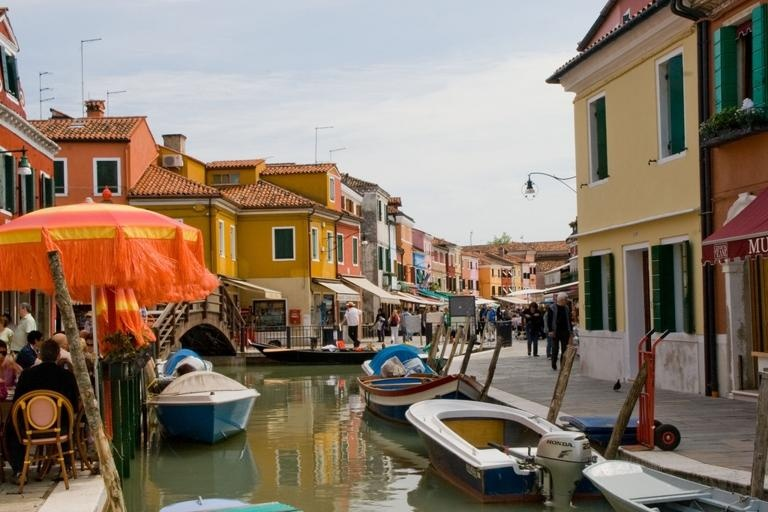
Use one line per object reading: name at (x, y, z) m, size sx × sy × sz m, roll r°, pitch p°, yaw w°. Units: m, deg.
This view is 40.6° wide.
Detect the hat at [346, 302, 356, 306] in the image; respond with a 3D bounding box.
hat at (-1.725, 2.352, 51.337) m, size 0.532 × 0.179 × 0.540 m, roll -1°, pitch -1°, yaw -18°

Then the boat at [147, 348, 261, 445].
boat at (-4.265, 3.299, 24.018) m, size 2.121 × 1.266 × 3.730 m, roll -1°, pitch -1°, yaw -16°

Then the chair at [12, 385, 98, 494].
chair at (-5.703, 2.962, 17.536) m, size 1.419 × 2.234 × 1.499 m, roll 0°, pitch 6°, yaw -5°

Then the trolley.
trolley at (4.286, 2.408, 18.573) m, size 1.763 × 1.928 × 1.204 m, roll 1°, pitch -2°, yaw 3°

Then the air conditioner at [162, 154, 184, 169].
air conditioner at (-10.083, -4.458, 48.896) m, size 1.067 × 0.823 × 0.595 m, roll -1°, pitch -6°, yaw 6°

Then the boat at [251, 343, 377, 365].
boat at (-2.449, 3.755, 39.066) m, size 4.934 × 0.910 × 1.488 m, roll 2°, pitch -10°, yaw 3°
